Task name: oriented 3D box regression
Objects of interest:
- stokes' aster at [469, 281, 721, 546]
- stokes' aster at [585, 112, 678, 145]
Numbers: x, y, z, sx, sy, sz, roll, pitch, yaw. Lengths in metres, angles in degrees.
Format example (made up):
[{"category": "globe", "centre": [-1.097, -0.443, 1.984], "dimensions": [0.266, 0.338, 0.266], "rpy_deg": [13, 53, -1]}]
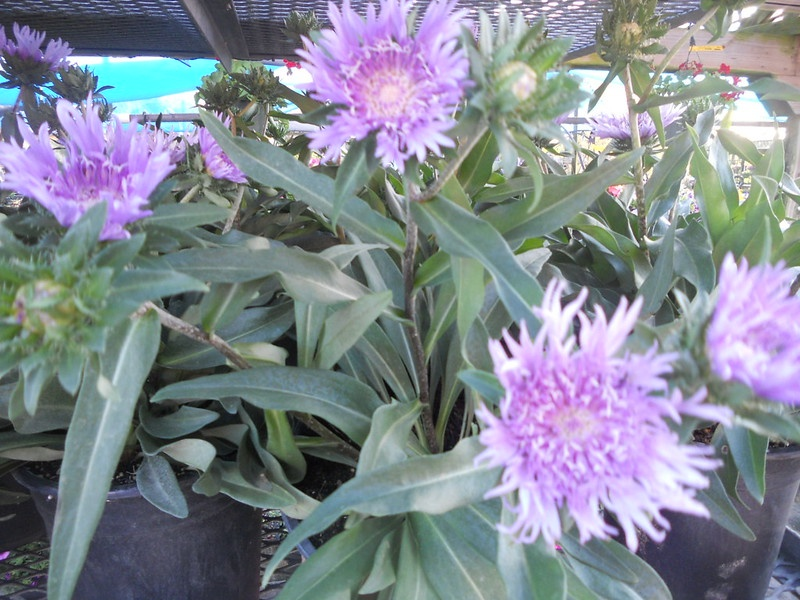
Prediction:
[{"category": "stokes' aster", "centre": [0.141, 0.105, 0.521], "dimensions": [0.190, 0.216, 0.081], "rpy_deg": [-14, 2, 5]}, {"category": "stokes' aster", "centre": [0.410, -0.293, 1.022], "dimensions": [0.084, 0.043, 0.082], "rpy_deg": [-30, 23, -30]}]
